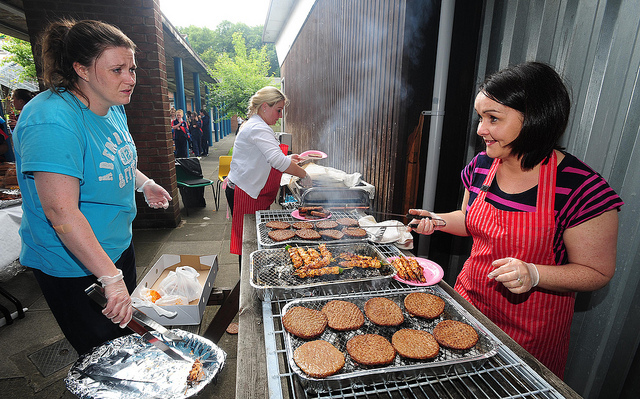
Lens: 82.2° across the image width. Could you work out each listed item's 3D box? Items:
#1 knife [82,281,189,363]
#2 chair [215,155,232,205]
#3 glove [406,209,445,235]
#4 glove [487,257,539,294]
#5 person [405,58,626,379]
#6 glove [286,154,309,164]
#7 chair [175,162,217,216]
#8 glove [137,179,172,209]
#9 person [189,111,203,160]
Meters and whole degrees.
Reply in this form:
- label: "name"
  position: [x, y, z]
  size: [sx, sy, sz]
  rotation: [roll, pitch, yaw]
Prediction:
- label: "knife"
  position: [-1.395, 1.010, 2.855]
  size: [0.936, 0.191, 0.102]
  rotation: [28, 45, 13]
- label: "chair"
  position: [-2.159, -0.499, 8.847]
  size: [0.665, 1.047, 0.705]
  rotation: [0, 13, -13]
- label: "glove"
  position: [0.946, 0.195, 3.283]
  size: [0.294, 0.086, 0.210]
  rotation: [1, 48, 6]
- label: "glove"
  position: [1.423, 0.556, 2.716]
  size: [0.406, 0.228, 0.147]
  rotation: [-1, 19, 1]
- label: "person"
  position: [1.635, 0.220, 2.927]
  size: [1.232, 2.499, 0.811]
  rotation: [10, 22, 30]
- label: "glove"
  position: [-0.347, -0.630, 5.458]
  size: [0.206, 0.072, 0.194]
  rotation: [19, 14, -32]
- label: "chair"
  position: [-2.948, -0.403, 8.705]
  size: [0.838, 1.156, 0.905]
  rotation: [-7, 12, -24]
- label: "glove"
  position: [-1.736, -0.059, 3.925]
  size: [0.341, 0.316, 0.181]
  rotation: [9, 21, 28]
- label: "person"
  position: [-5.680, -2.997, 16.797]
  size: [0.476, 1.994, 0.931]
  rotation: [-6, 20, -13]
